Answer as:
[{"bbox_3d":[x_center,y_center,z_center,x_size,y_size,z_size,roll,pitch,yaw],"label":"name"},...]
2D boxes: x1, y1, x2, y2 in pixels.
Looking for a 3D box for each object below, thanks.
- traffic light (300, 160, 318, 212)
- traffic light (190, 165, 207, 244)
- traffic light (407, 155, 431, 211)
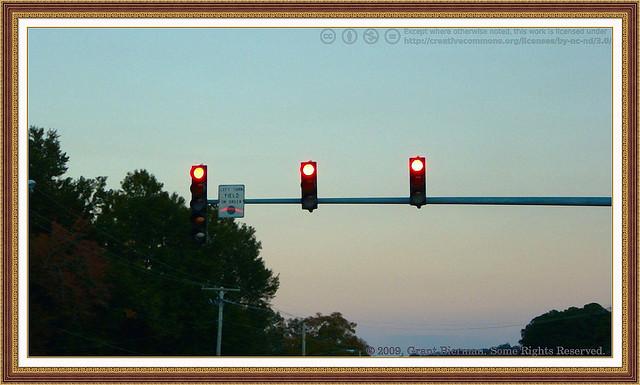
[{"bbox_3d":[-0.669,-0.426,83.888,0.968,2.896,0.927,2,-3,1],"label":"traffic light"},{"bbox_3d":[-7.185,0.691,84.474,0.998,4.706,0.682,2,-3,-6],"label":"traffic light"},{"bbox_3d":[5.086,-0.663,75.286,1.466,2.975,1.237,0,-1,0],"label":"traffic light"}]
